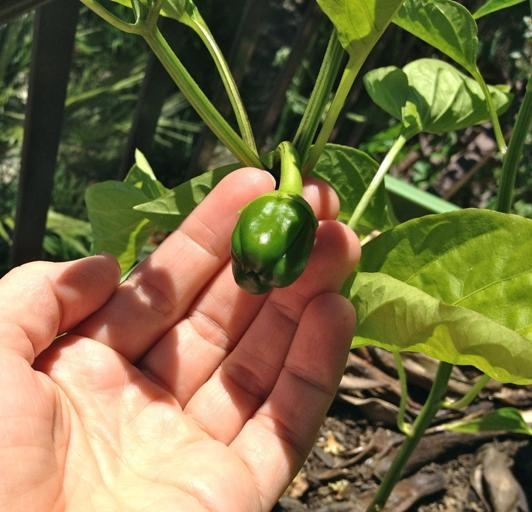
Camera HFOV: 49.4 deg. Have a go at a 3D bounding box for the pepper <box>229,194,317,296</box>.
[{"bbox_3d":[0.005,-0.010,0.749,0.103,0.140,0.072,18,23,2],"label":"pepper"}]
